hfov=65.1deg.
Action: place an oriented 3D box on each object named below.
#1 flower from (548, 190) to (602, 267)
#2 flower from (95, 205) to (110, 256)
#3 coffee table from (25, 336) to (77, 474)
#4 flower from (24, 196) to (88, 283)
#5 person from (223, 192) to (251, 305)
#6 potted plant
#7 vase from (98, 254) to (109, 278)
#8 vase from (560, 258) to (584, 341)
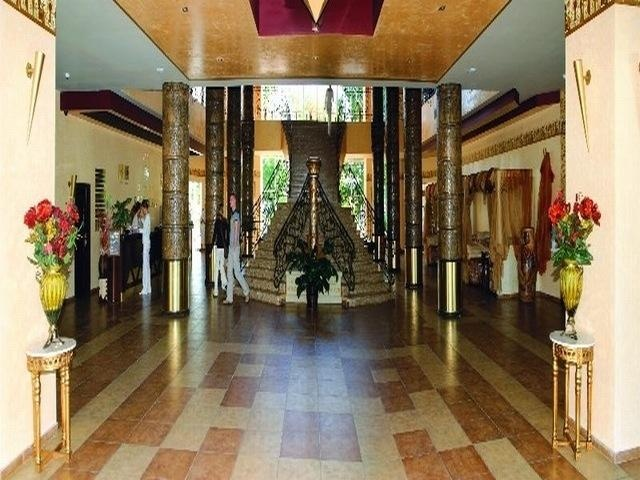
[{"bbox_3d":[2.353,0.025,4.706,0.401,0.738,0.479,5,-3,-36],"label":"flower"},{"bbox_3d":[-4.364,-0.131,10.146,0.259,0.828,0.205,1,5,35],"label":"flower"},{"bbox_3d":[-2.454,1.439,4.606,0.391,1.101,0.677,-4,5,-32],"label":"coffee table"},{"bbox_3d":[-2.450,0.087,4.572,0.481,0.799,0.496,4,-11,-42],"label":"flower"},{"bbox_3d":[-1.630,0.184,9.645,0.495,2.104,0.606,-2,4,-10],"label":"person"},{"bbox_3d":[-0.224,0.632,9.736,0.826,1.224,1.221,-5,5,-39],"label":"potted plant"},{"bbox_3d":[-4.337,0.534,10.032,0.189,0.486,0.115,-2,4,-5],"label":"vase"},{"bbox_3d":[2.342,0.543,4.640,0.176,0.699,0.263,-1,4,6],"label":"vase"}]
